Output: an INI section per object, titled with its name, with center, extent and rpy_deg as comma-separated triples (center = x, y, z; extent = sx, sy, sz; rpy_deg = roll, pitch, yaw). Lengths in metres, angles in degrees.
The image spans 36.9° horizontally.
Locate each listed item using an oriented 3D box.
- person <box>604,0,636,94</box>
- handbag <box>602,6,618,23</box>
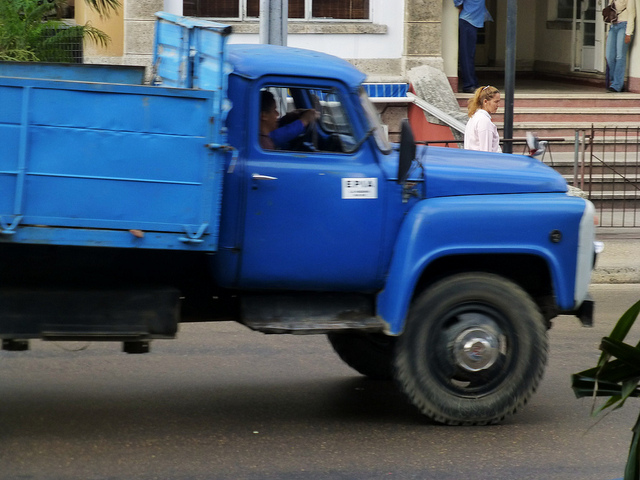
[person]
center = 5.891, -3.783, 19.033
extent = 0.604, 1.788, 0.757
rpy_deg = 7, 13, 14
[handbag]
center = 5.839, -4.447, 19.125
extent = 0.341, 0.297, 0.155
rpy_deg = 5, -14, 42
